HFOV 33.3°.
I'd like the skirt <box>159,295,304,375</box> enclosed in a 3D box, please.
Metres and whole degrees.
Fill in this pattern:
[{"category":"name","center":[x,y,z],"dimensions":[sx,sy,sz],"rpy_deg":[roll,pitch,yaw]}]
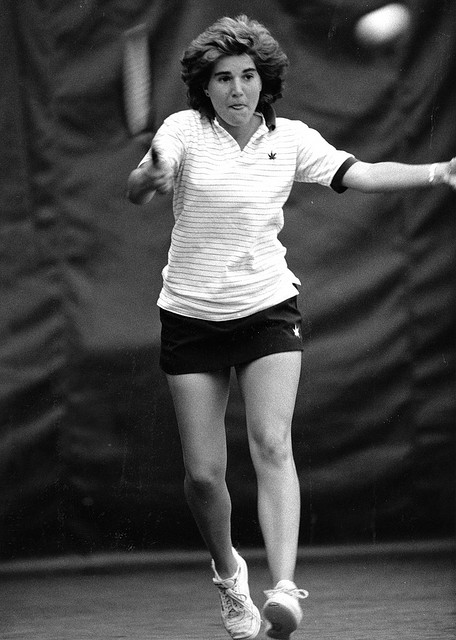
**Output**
[{"category":"skirt","center":[0.007,0.049,1.931],"dimensions":[0.356,0.207,0.159],"rpy_deg":[3,30,-3]}]
